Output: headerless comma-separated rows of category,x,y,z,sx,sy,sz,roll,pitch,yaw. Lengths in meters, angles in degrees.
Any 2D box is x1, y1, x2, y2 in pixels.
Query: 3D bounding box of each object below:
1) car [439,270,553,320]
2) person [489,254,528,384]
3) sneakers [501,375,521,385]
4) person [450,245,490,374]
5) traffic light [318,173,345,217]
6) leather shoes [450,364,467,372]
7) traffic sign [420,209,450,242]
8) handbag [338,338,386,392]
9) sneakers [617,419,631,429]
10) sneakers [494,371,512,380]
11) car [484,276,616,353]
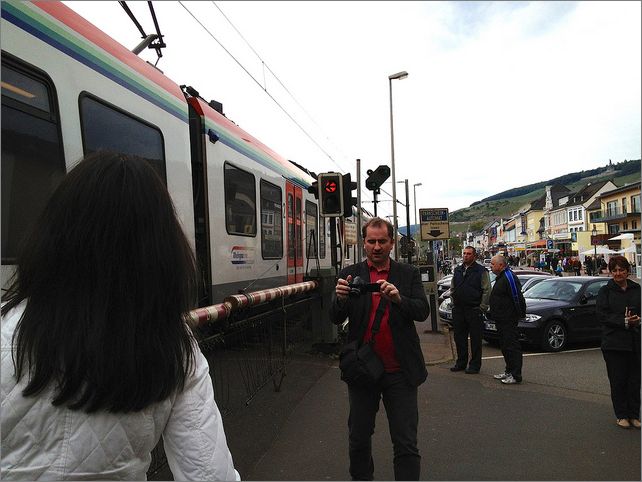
car,5.575,1.422,12.783,4.307,1.591,1.972,3,-8,-33
person,3.083,1.264,7.157,0.509,2.066,0.691,0,-2,3
sneakers,3.021,2.234,6.893,0.304,0.146,0.108,3,-10,-9
person,2.661,1.208,7.741,0.665,2.220,0.675,0,-2,17
traffic light,0.173,-0.862,7.578,0.436,0.882,0.308,-2,36,2
leather shoes,2.358,2.243,7.591,0.330,0.156,0.109,3,-7,-9
traffic sign,3.407,-0.487,13.094,0.877,1.036,0.125,0,1,3
handbag,0.281,1.035,3.426,0.380,0.391,0.393,13,-23,1
sneakers,3.528,2.147,5.061,0.115,0.092,0.101,-1,-2,34
sneakers,2.931,2.194,7.029,0.258,0.126,0.101,1,-7,5
car,5.470,1.639,10.081,3.792,1.380,1.554,5,-10,-35
